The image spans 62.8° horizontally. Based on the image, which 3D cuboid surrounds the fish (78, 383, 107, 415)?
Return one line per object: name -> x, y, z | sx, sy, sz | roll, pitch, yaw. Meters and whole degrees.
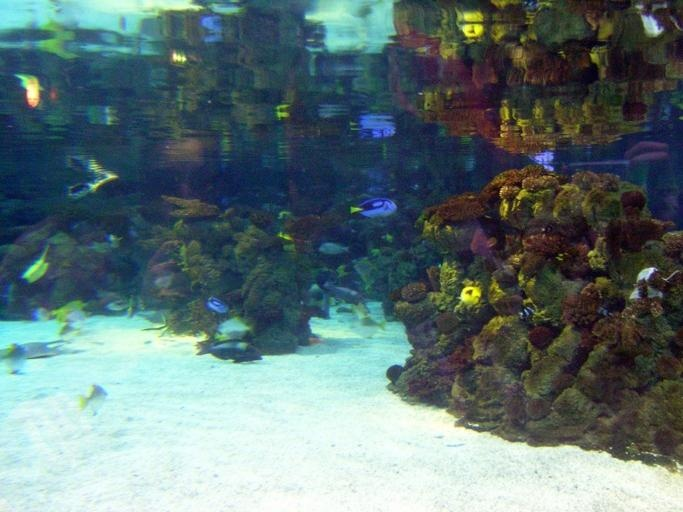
fish -> -4.741, 2.765, 10.649 | 0.633, 0.592, 0.157 | 32, 25, -26
